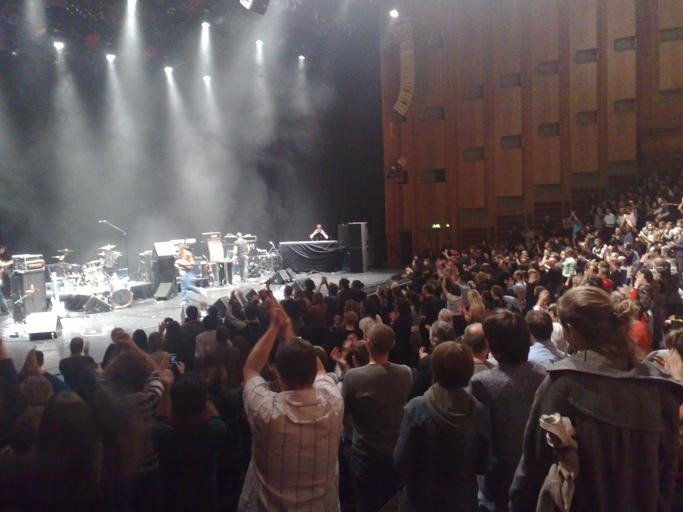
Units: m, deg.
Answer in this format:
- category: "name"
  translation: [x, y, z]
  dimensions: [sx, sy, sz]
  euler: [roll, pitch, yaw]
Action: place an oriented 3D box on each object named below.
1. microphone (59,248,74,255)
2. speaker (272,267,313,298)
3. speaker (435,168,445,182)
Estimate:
- category: "microphone"
  translation: [-7.134, -0.138, 12.817]
  dimensions: [0.161, 0.091, 0.175]
  euler: [-5, -19, 2]
- category: "speaker"
  translation: [-1.314, 0.671, 12.772]
  dimensions: [1.047, 0.408, 0.787]
  euler: [-1, -2, -2]
- category: "speaker"
  translation: [3.663, -3.004, 18.687]
  dimensions: [0.405, 0.436, 0.404]
  euler: [-2, -4, 31]
